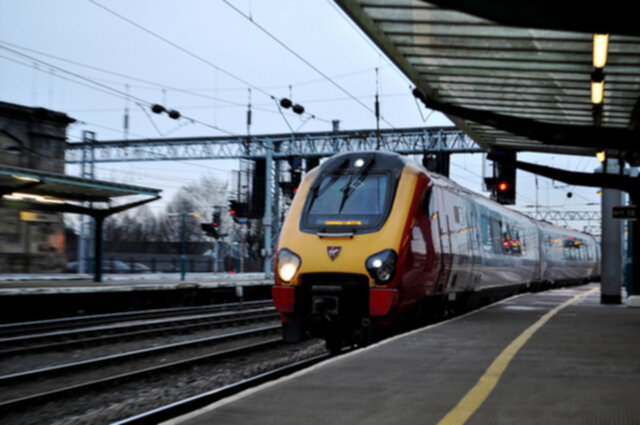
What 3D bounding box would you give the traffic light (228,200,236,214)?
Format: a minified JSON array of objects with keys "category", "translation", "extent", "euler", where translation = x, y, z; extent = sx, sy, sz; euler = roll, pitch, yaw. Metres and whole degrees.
[{"category":"traffic light","translation":[-5.166,-0.336,33.820],"extent":[0.489,0.876,0.700],"euler":[-1,-5,-9]}]
